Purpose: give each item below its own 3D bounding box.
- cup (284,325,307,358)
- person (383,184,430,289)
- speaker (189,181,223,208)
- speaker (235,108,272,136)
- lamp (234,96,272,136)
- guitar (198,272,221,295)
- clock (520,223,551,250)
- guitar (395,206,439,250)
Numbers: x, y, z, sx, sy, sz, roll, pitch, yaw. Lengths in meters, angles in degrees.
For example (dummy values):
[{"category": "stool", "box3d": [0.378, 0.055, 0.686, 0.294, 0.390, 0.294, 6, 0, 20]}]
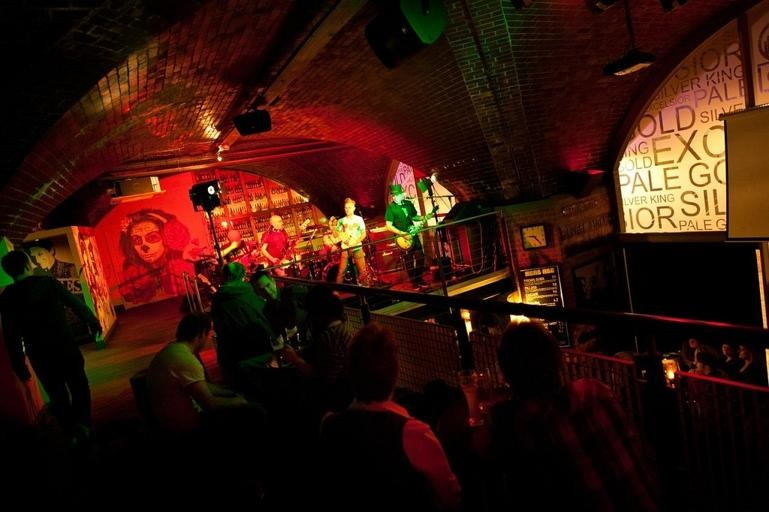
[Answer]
[{"category": "cup", "box3d": [-0.914, 0.902, 5.294, 0.307, 0.341, 0.304, 0, -5, 0]}, {"category": "person", "box3d": [0.430, -0.315, 9.490, 0.332, 0.887, 2.272, -12, -46, 16]}, {"category": "speaker", "box3d": [-2.910, -0.977, 8.105, 0.475, 0.546, 0.513, -4, -2, -3]}, {"category": "speaker", "box3d": [-1.931, -2.045, 7.481, 0.657, 0.419, 0.149, -9, 20, 3]}, {"category": "lamp", "box3d": [-1.996, -2.136, 7.575, 0.649, 0.230, 0.571, -3, -33, -15]}, {"category": "guitar", "box3d": [-3.821, 0.598, 10.878, 0.168, 0.744, 0.244, -38, -24, -12]}, {"category": "clock", "box3d": [2.410, -0.309, 7.953, 0.450, 0.348, 0.161, -5, -2, 17]}, {"category": "guitar", "box3d": [0.513, -0.504, 8.721, 0.635, 0.502, 1.225, -5, -2, 16]}]
